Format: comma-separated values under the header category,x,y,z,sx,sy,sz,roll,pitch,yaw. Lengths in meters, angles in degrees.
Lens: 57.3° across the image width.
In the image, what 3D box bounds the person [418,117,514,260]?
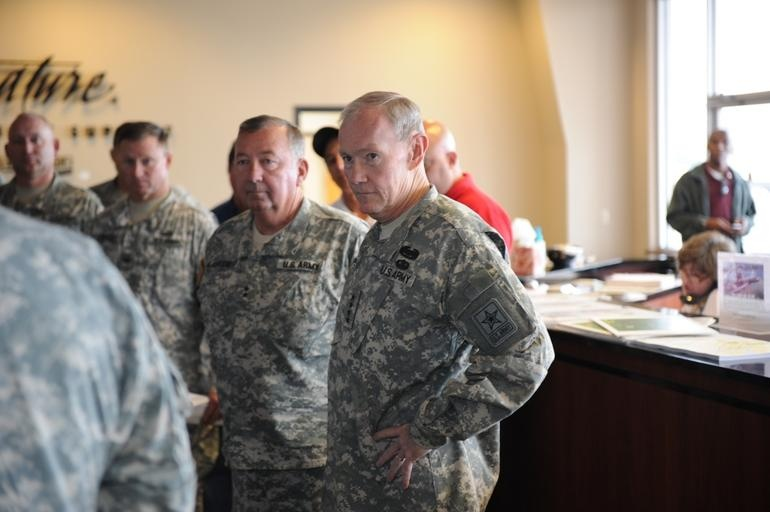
category,x,y,z,sx,sy,sz,roll,pitch,yaw
person,0.401,-0.396,3.920,0.535,0.959,0.984,-3,1,7

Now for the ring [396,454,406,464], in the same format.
category,x,y,z,sx,sy,sz,roll,pitch,yaw
ring,0.050,0.625,2.167,0.030,0.031,0.011,1,7,27
